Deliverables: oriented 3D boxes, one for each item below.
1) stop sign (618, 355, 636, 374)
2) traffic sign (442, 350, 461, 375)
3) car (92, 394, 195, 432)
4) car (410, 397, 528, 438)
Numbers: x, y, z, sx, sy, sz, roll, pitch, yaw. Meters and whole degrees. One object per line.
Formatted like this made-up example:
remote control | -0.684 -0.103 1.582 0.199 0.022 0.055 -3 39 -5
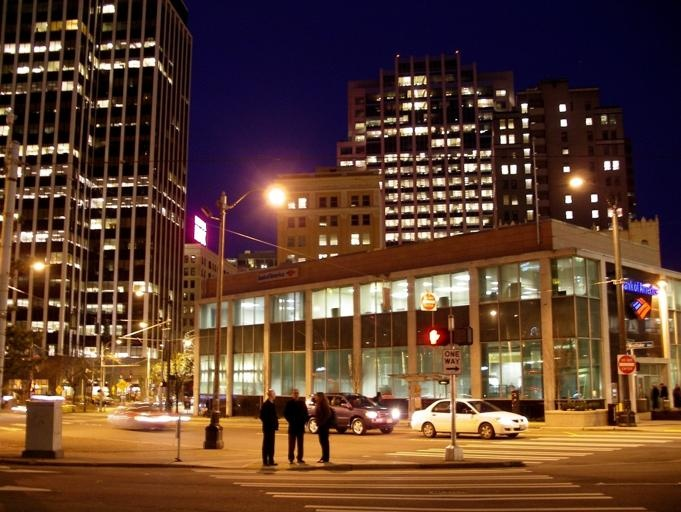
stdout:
stop sign | 14.533 5.404 38.161 0.807 0.950 0.915 -4 -14 15
traffic sign | 3.983 3.731 26.831 0.587 0.974 0.408 -2 -13 5
car | -11.584 9.395 44.212 3.747 1.751 2.895 -1 -14 3
car | 5.964 7.612 35.240 5.012 1.869 1.745 -9 -16 31
